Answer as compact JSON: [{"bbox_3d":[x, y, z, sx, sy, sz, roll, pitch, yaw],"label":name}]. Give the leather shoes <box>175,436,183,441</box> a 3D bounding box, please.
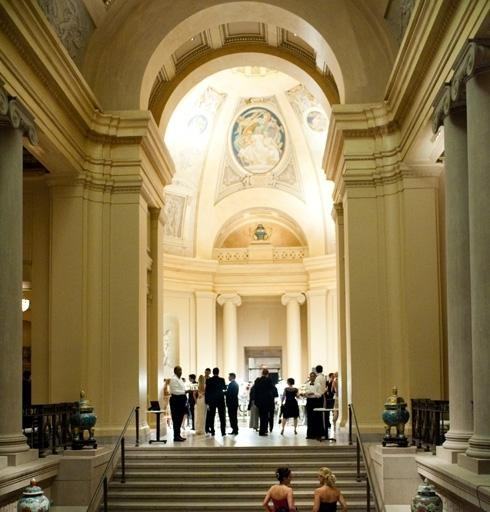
[{"bbox_3d":[-1.319,3.642,10.383,0.190,0.096,0.328,1,-16,-9],"label":"leather shoes"}]
